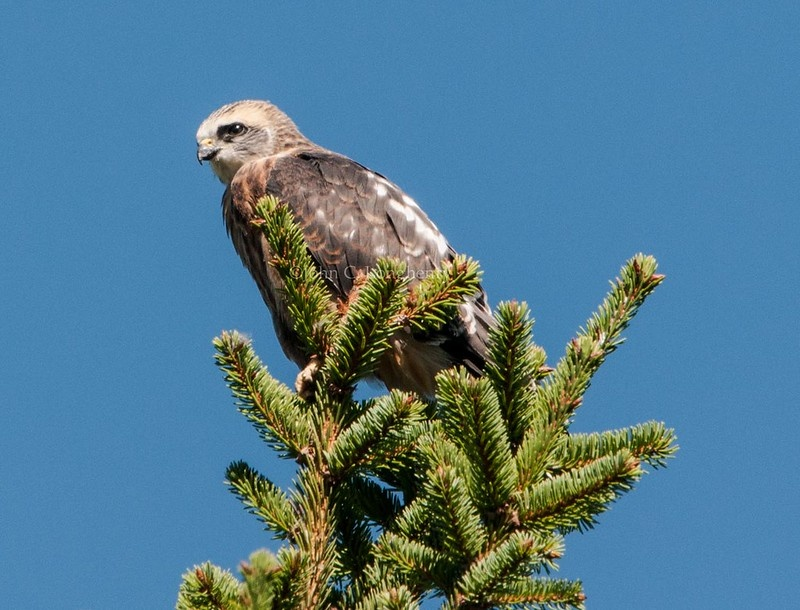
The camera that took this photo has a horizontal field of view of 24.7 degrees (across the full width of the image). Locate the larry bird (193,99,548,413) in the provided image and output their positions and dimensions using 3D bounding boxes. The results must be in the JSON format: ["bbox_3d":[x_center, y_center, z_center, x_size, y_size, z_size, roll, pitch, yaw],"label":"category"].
[{"bbox_3d":[-0.199,-0.114,9.319,1.681,1.796,0.986,6,-24,-13],"label":"larry bird"}]
